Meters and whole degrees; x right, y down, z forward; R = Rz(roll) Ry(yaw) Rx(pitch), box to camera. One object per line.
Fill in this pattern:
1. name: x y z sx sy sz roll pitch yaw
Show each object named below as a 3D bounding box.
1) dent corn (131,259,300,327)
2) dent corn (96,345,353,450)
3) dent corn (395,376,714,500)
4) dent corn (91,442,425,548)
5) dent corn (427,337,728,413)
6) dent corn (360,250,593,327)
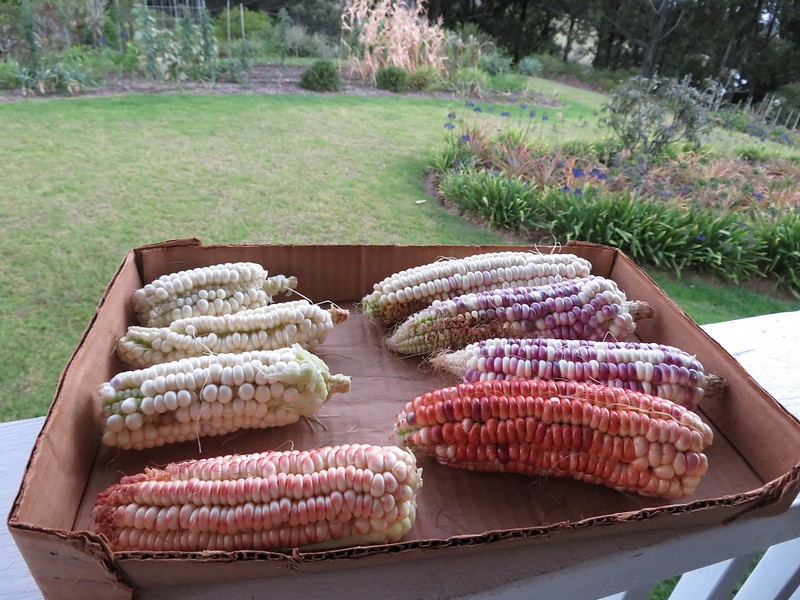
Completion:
1. dent corn: -0.519 -0.024 1.684 0.420 0.165 0.155 -12 56 -20
2. dent corn: -0.402 0.223 1.491 0.543 0.210 0.183 -4 10 -20
3. dent corn: 0.347 0.303 1.496 0.815 0.272 0.253 -4 -4 28
4. dent corn: -0.308 0.467 1.332 0.731 0.234 0.211 5 2 -25
5. dent corn: 0.387 0.164 1.617 0.869 0.230 0.245 1 15 5
6. dent corn: 0.253 0.009 1.774 0.827 0.245 0.223 1 30 27
